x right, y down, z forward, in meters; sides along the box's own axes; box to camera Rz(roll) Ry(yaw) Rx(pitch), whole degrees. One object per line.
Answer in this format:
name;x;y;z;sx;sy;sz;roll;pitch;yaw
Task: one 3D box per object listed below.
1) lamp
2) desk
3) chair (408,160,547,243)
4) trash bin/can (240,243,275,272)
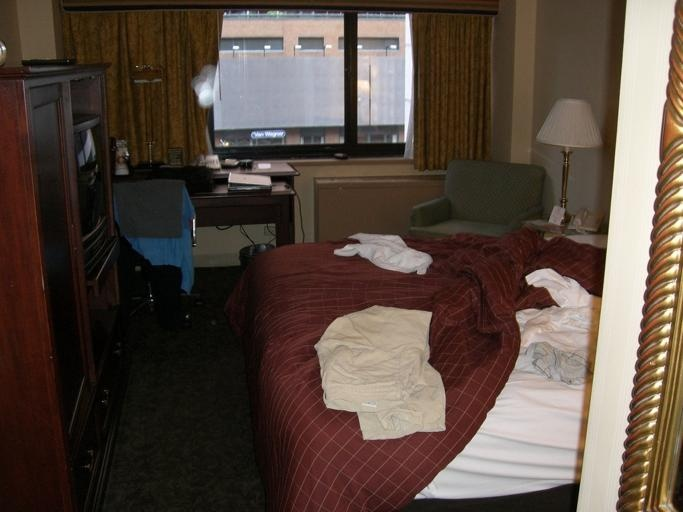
lamp;1.790;-0.755;4.388;0.457;0.942;0.654;5;18;24
desk;-0.815;-0.554;4.914;1.022;0.715;0.794;-3;16;-11
chair;1.221;-0.561;5.178;0.998;1.137;0.843;7;11;29
trash bin/can;-0.774;-0.031;4.972;0.287;0.182;0.294;5;13;19
